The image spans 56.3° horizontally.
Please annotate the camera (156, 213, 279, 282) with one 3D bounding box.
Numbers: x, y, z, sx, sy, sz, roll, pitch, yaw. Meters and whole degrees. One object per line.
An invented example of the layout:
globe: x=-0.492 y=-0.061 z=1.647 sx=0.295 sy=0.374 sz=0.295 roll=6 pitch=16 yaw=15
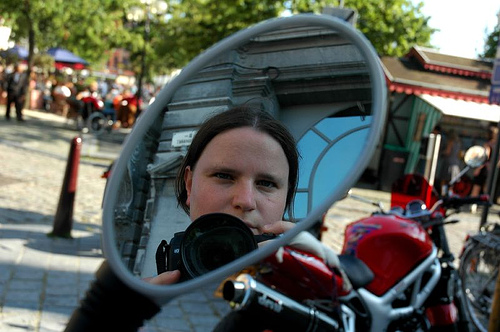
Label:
camera: x=-0.118 y=0.219 z=1.258 sx=0.332 sy=0.185 sz=0.177 roll=13 pitch=2 yaw=33
